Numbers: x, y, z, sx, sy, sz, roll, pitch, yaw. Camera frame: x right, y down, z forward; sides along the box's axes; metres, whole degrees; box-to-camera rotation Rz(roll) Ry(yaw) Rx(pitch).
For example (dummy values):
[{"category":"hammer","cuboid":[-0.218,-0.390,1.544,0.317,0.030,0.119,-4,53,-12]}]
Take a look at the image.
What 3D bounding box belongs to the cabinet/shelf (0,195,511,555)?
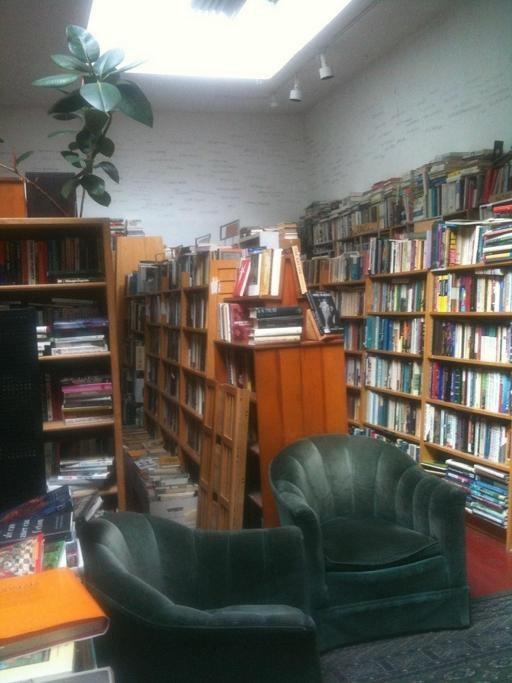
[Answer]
[{"category":"cabinet/shelf","cuboid":[0.047,0.219,3.942,2.534,1.043,2.450,-1,1,-25]}]
